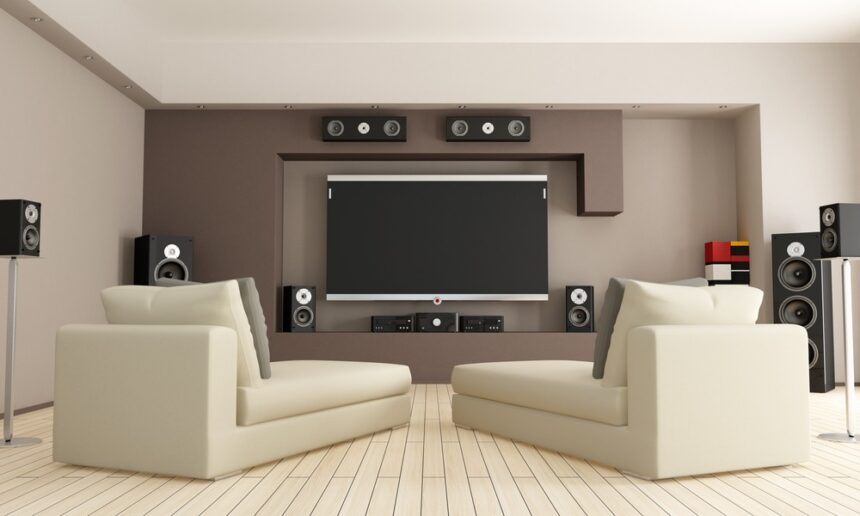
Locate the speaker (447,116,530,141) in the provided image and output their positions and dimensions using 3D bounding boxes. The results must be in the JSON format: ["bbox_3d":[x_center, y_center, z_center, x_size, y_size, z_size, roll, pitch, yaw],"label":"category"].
[{"bbox_3d":[0.665,-1.487,7.060,0.951,0.290,0.185,2,11,7],"label":"speaker"}]

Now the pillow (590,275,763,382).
[{"bbox_3d":[1.709,0.504,4.224,0.987,0.648,0.333,0,-22,0],"label":"pillow"}]

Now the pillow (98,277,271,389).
[{"bbox_3d":[-1.638,0.392,4.086,0.887,0.817,0.292,-7,0,20],"label":"pillow"}]
